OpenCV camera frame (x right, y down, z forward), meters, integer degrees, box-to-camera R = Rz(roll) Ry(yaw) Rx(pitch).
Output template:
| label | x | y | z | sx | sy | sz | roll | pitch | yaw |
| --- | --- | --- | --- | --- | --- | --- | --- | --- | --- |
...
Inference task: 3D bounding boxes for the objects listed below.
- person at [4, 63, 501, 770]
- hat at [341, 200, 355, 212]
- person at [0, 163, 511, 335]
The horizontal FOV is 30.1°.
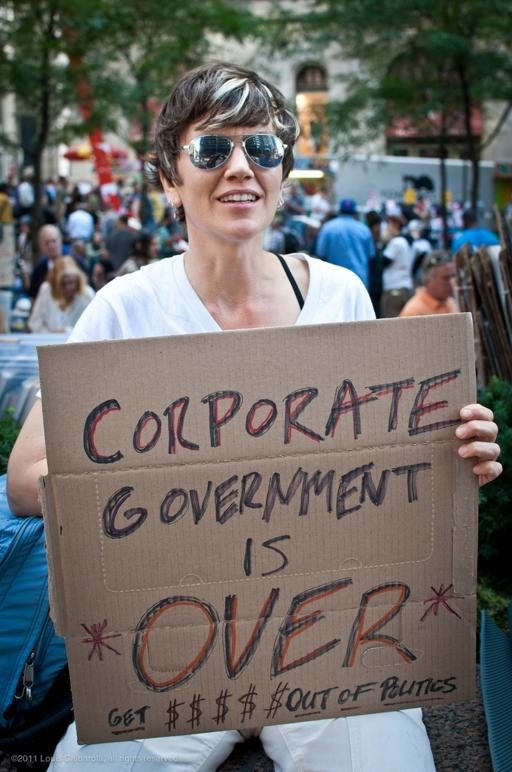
| label | x | y | z | sx | sy | sz | roll | pitch | yaw |
| --- | --- | --- | --- | --- | --- | --- | --- | --- | --- |
| person | -0.105 | 0.084 | 2.391 | 1.256 | 1.758 | 0.832 | -3 | 11 | -2 |
| hat | 0.869 | -1.684 | 8.967 | 0.106 | 0.080 | 0.116 | -1 | 50 | 1 |
| person | -0.009 | -0.708 | 4.936 | 3.058 | 0.972 | 0.898 | 0 | 0 | 6 |
